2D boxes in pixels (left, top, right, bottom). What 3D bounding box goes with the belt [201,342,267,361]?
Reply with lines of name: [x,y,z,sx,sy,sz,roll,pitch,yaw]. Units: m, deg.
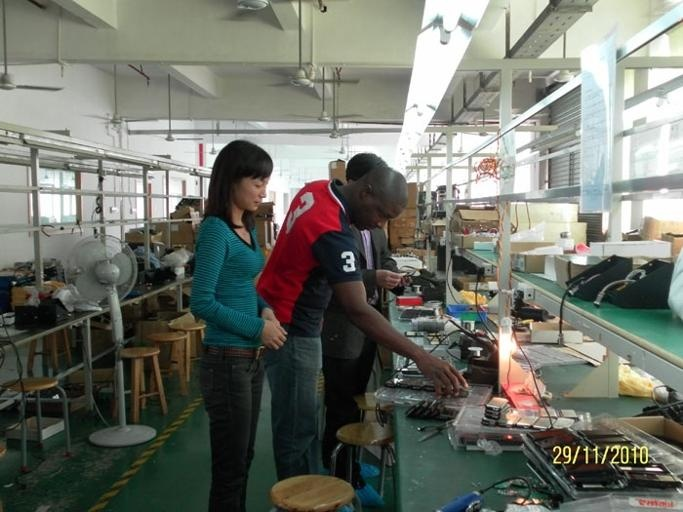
belt: [-0.440,0.394,2.077,0.232,0.077,0.074,-1,7,-10]

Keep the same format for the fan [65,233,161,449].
fan: [-1.719,0.576,3.811,0.508,1.461,0.884,-4,9,-28]

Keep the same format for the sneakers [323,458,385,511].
sneakers: [0.080,1.298,2.930,0.179,0.224,0.545,6,-11,-13]

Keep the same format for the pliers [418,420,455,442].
pliers: [0.327,0.638,1.863,0.116,0.012,0.051,-12,14,-43]

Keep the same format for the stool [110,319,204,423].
stool: [-1.582,0.968,4.451,0.818,0.783,0.705,1,-1,-9]

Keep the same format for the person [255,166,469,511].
person: [-0.045,0.166,2.870,1.330,1.874,1.152,-2,6,2]
